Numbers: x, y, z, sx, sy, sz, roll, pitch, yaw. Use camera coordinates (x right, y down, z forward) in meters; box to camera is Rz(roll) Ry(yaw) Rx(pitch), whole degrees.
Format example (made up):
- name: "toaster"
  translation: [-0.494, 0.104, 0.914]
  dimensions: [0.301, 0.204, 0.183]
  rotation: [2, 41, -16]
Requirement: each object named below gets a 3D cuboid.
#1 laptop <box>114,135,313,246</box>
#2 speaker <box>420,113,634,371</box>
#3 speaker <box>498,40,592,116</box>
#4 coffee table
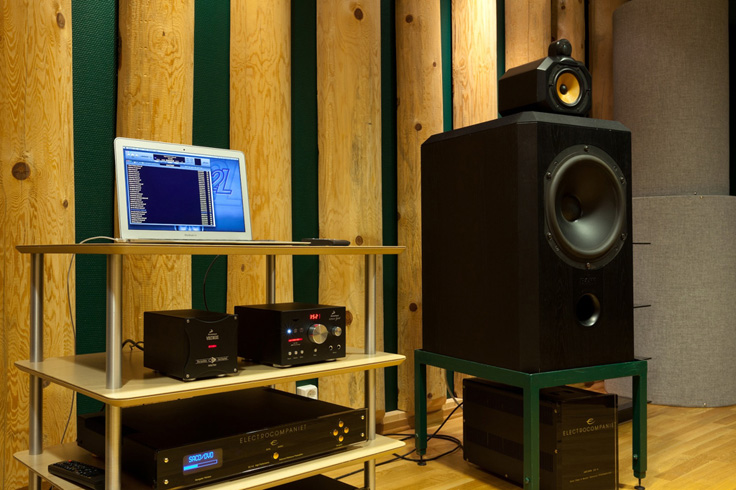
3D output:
- name: "laptop"
  translation: [-0.612, -0.212, 2.827]
  dimensions: [0.465, 0.346, 0.021]
  rotation: [2, -12, -34]
- name: "speaker"
  translation: [0.686, -0.009, 3.280]
  dimensions: [0.698, 1.028, 0.797]
  rotation: [-1, 1, -27]
- name: "speaker"
  translation: [0.748, -0.686, 3.124]
  dimensions: [0.319, 0.321, 0.304]
  rotation: [0, 0, -25]
- name: "coffee table"
  translation: [0.750, 0.575, 3.051]
  dimensions: [0.661, 0.450, 0.632]
  rotation: [-1, 2, -37]
